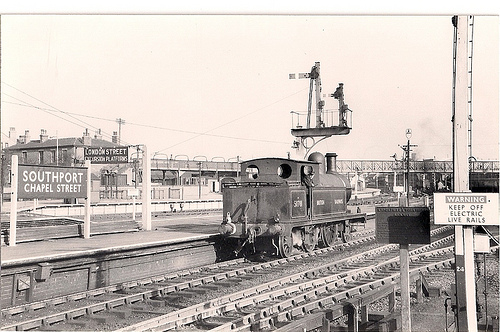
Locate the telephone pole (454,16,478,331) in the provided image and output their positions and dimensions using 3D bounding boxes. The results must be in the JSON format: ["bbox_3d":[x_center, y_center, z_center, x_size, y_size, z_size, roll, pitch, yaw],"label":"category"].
[{"bbox_3d":[5.716,0.082,17.202,0.520,8.552,0.799,-1,-3,18],"label":"telephone pole"}]

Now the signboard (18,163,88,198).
[{"bbox_3d":[-7.302,0.592,23.931,2.938,1.288,0.220,1,-5,10],"label":"signboard"}]

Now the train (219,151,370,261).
[{"bbox_3d":[2.044,1.567,28.245,3.573,4.273,8.727,-2,-1,33],"label":"train"}]
